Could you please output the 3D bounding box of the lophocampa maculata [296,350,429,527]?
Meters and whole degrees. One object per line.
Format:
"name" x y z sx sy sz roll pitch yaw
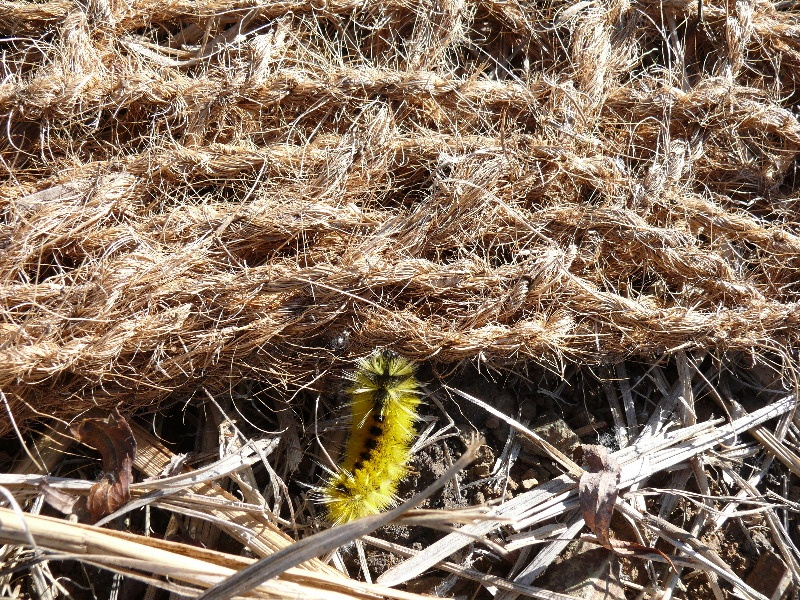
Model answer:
"lophocampa maculata" -0.054 0.354 2.220 0.252 0.257 0.488 -4 54 44
